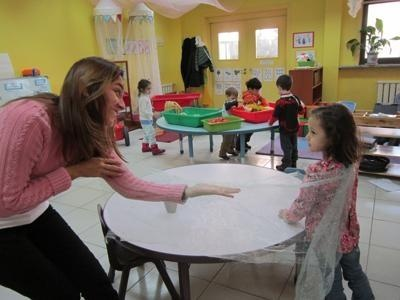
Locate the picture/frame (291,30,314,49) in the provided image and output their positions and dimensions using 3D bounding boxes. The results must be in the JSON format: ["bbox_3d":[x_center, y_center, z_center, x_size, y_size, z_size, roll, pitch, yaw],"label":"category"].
[{"bbox_3d":[2.272,-2.459,6.593,0.397,0.303,0.040,6,13,27],"label":"picture/frame"}]

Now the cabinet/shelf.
[{"bbox_3d":[2.049,-1.249,5.746,0.447,1.064,1.104,2,18,23],"label":"cabinet/shelf"}]

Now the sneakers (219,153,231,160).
[{"bbox_3d":[0.380,0.120,4.691,0.140,0.058,0.074,0,13,14],"label":"sneakers"}]

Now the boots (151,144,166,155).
[{"bbox_3d":[-0.730,-0.011,5.076,0.284,0.211,0.105,-12,21,-27],"label":"boots"}]

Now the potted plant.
[{"bbox_3d":[3.372,-2.169,6.021,0.870,0.618,0.885,-12,22,-22],"label":"potted plant"}]
